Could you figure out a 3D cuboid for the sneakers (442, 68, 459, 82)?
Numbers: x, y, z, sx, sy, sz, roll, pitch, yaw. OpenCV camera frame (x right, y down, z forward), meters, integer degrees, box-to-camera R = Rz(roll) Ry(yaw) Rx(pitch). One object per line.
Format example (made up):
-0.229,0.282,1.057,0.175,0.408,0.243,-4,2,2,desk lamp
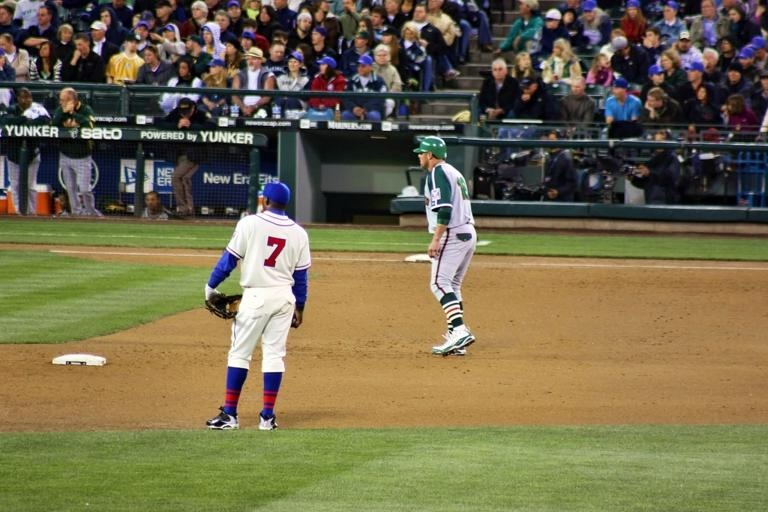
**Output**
1.469,-4.062,44.353,0.461,0.181,0.157,-5,36,13,sneakers

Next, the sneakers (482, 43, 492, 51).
2.372,-4.772,45.290,0.206,0.167,0.084,-2,-6,11,sneakers

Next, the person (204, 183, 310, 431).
-1.896,0.777,30.837,1.525,3.809,0.763,1,3,-4,person

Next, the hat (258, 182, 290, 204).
-1.695,-0.991,31.057,0.371,0.230,0.461,-5,25,-30,hat

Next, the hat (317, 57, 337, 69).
-1.164,-4.179,42.641,0.389,0.174,0.245,11,5,-8,hat

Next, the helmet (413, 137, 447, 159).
0.705,-1.792,33.052,0.671,0.301,0.412,8,15,11,helmet

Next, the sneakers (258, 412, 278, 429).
-1.758,2.585,30.780,0.300,0.211,0.319,1,3,-3,sneakers

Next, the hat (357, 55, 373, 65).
-0.354,-4.198,42.351,0.299,0.107,0.206,2,8,-33,hat

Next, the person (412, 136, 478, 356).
1.064,-0.158,33.012,0.967,3.621,0.537,1,3,1,person
